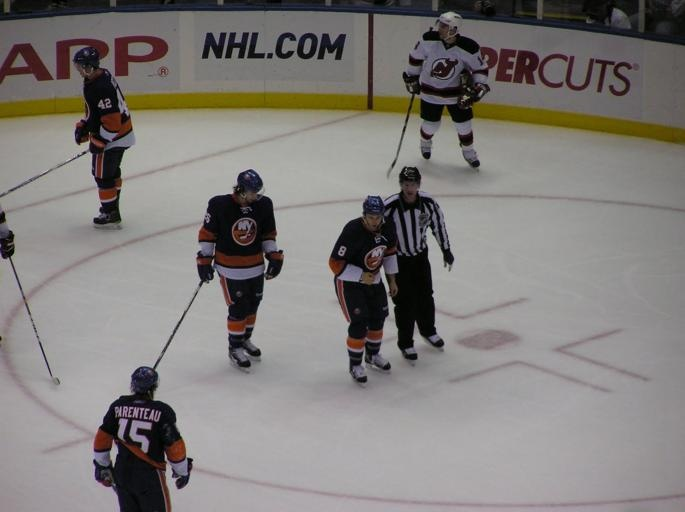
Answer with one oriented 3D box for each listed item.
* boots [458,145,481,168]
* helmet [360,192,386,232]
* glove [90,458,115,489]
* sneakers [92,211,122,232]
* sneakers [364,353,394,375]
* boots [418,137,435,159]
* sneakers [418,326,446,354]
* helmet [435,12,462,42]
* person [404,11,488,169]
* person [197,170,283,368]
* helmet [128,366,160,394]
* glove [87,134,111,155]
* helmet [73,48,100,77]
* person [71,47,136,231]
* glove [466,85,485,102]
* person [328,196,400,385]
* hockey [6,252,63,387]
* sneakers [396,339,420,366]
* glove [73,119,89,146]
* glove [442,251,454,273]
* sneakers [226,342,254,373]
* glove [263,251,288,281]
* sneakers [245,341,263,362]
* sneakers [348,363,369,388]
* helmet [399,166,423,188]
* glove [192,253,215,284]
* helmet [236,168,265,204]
[{"bbox_3d":[1.657,-1.258,9.806,0.140,0.406,0.169,-22,-19,5],"label":"boots"},{"bbox_3d":[0.239,-0.333,5.873,0.166,0.271,0.257,-2,36,-3],"label":"helmet"},{"bbox_3d":[-1.476,1.347,4.736,0.143,0.218,0.083,-5,-10,-7],"label":"glove"},{"bbox_3d":[-2.597,-0.378,8.452,0.297,0.235,0.153,10,14,-3],"label":"sneakers"},{"bbox_3d":[0.295,0.880,6.382,0.254,0.129,0.101,18,33,29],"label":"sneakers"},{"bbox_3d":[1.128,-1.402,10.095,0.108,0.299,0.133,-1,27,-2],"label":"boots"},{"bbox_3d":[0.813,0.722,6.621,0.108,0.134,0.328,-30,45,-19],"label":"sneakers"},{"bbox_3d":[1.326,-2.773,9.289,0.319,0.378,0.294,7,35,8],"label":"helmet"},{"bbox_3d":[1.336,-2.076,9.715,1.153,2.110,0.812,23,46,29],"label":"person"},{"bbox_3d":[-0.828,0.112,6.232,0.691,1.647,0.348,-4,18,-11],"label":"person"},{"bbox_3d":[-1.208,0.756,4.675,0.131,0.170,0.162,15,19,36],"label":"helmet"},{"bbox_3d":[-2.666,-1.195,8.261,0.290,0.220,0.145,12,22,31],"label":"glove"},{"bbox_3d":[-2.739,-2.048,8.148,0.245,0.308,0.318,-7,20,-19],"label":"helmet"},{"bbox_3d":[-2.607,-1.284,8.369,0.614,1.898,0.449,-5,19,-15],"label":"person"},{"bbox_3d":[1.664,-2.007,9.418,0.260,0.205,0.155,2,19,7],"label":"glove"},{"bbox_3d":[0.213,0.250,6.132,0.587,1.514,0.354,-13,22,-35],"label":"person"},{"bbox_3d":[-2.783,0.615,6.876,0.104,1.116,0.156,-21,-4,11],"label":"hockey"},{"bbox_3d":[0.571,0.818,6.474,0.093,0.111,0.268,-10,26,-14],"label":"sneakers"},{"bbox_3d":[-2.911,-1.365,8.372,0.111,0.202,0.284,-2,60,5],"label":"glove"},{"bbox_3d":[0.975,0.062,6.980,0.059,0.199,0.189,-6,-4,-8],"label":"glove"},{"bbox_3d":[-0.853,0.832,6.406,0.104,0.218,0.294,-21,34,-34],"label":"sneakers"},{"bbox_3d":[-0.562,0.062,6.354,0.117,0.224,0.161,34,26,25],"label":"glove"},{"bbox_3d":[-0.765,0.795,6.523,0.082,0.098,0.229,-20,41,-27],"label":"sneakers"},{"bbox_3d":[0.136,0.964,6.189,0.080,0.102,0.232,-13,31,-20],"label":"sneakers"},{"bbox_3d":[0.571,-0.647,6.291,0.153,0.192,0.192,2,17,1],"label":"helmet"},{"bbox_3d":[-1.111,0.101,6.216,0.126,0.308,0.181,-3,19,-10],"label":"glove"},{"bbox_3d":[-0.743,-0.540,5.989,0.220,0.236,0.184,21,20,5],"label":"helmet"}]
